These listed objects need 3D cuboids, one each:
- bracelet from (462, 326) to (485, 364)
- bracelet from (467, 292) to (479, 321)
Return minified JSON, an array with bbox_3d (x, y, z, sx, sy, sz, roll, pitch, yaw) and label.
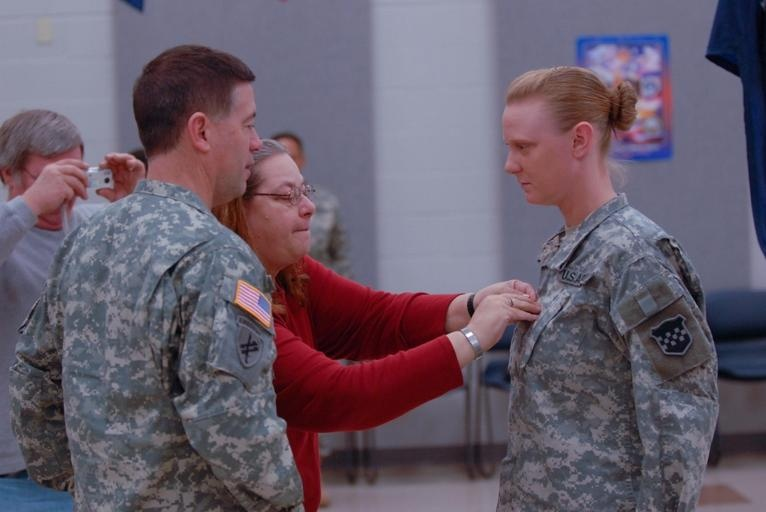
[{"bbox_3d":[0.355,0.350,5.174,0.028,0.099,0.103,-32,26,-4],"label":"bracelet"},{"bbox_3d":[0.381,0.217,5.441,0.062,0.084,0.082,3,42,9],"label":"bracelet"}]
